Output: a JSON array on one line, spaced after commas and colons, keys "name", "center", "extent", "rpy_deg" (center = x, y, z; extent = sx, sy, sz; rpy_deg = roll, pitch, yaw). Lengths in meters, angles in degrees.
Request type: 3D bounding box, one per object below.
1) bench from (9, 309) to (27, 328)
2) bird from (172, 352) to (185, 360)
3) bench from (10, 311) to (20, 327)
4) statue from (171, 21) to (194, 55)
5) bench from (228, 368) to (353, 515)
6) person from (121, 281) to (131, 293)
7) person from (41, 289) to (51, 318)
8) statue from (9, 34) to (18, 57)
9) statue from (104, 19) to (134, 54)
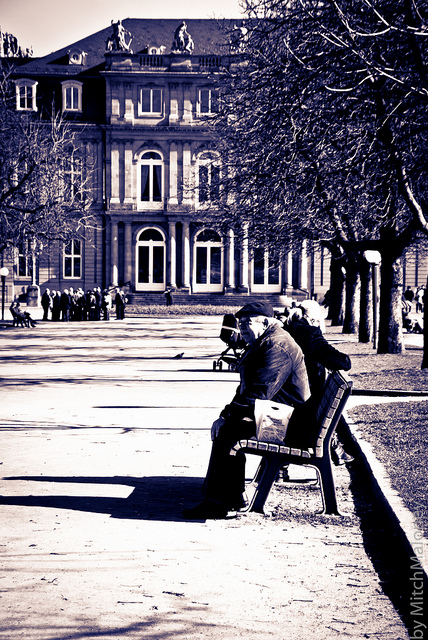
[{"name": "bench", "center": [-5.586, 0.018, 38.244], "extent": [0.438, 0.766, 0.381], "rpy_deg": [-2, 5, 8]}, {"name": "bird", "center": [-0.665, 0.691, 24.717], "extent": [0.204, 0.116, 0.768], "rpy_deg": [0, 1, -4]}, {"name": "bench", "center": [-5.659, 0.042, 38.512], "extent": [0.191, 0.454, 1.526], "rpy_deg": [0, 1, -8]}, {"name": "statue", "center": [-1.411, -12.584, 61.611], "extent": [0.844, 1.456, 1.298], "rpy_deg": [0, 1, 18]}, {"name": "bench", "center": [0.623, 0.916, 10.479], "extent": [0.774, 1.275, 0.788], "rpy_deg": [6, 4, 7]}, {"name": "person", "center": [-4.089, -1.413, 62.688], "extent": [0.386, 0.849, 0.405], "rpy_deg": [0, -9, 9]}, {"name": "person", "center": [-5.623, -0.458, 45.091], "extent": [0.277, 0.922, 1.257], "rpy_deg": [0, 1, -8]}, {"name": "statue", "center": [-10.268, -13.877, 69.221], "extent": [0.411, 1.446, 2.479], "rpy_deg": [0, 1, -9]}, {"name": "statue", "center": [-4.412, -12.949, 62.862], "extent": [1.099, 2.074, 3.838], "rpy_deg": [0, 1, -1]}]
